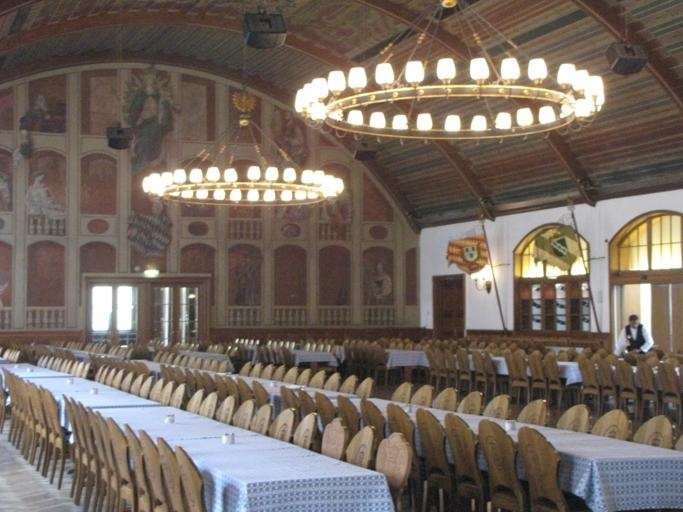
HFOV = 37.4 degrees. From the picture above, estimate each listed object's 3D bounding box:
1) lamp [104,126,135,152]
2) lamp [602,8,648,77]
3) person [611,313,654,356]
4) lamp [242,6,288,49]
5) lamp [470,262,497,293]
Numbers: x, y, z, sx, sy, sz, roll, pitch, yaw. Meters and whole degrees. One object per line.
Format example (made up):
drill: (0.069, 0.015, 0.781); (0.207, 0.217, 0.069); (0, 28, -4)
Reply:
lamp: (-5.564, -3.037, 25.665); (0.665, 0.578, 0.665); (2, 4, 30)
lamp: (5.980, -4.566, 21.131); (0.855, 2.003, 0.710); (9, -31, -4)
person: (6.165, 1.927, 21.359); (0.702, 1.393, 0.513); (-10, 16, -4)
lamp: (-1.693, -5.344, 22.829); (0.979, 1.093, 1.003); (2, -21, -14)
lamp: (4.102, 0.626, 28.925); (0.629, 1.068, 0.628); (8, -12, -28)
